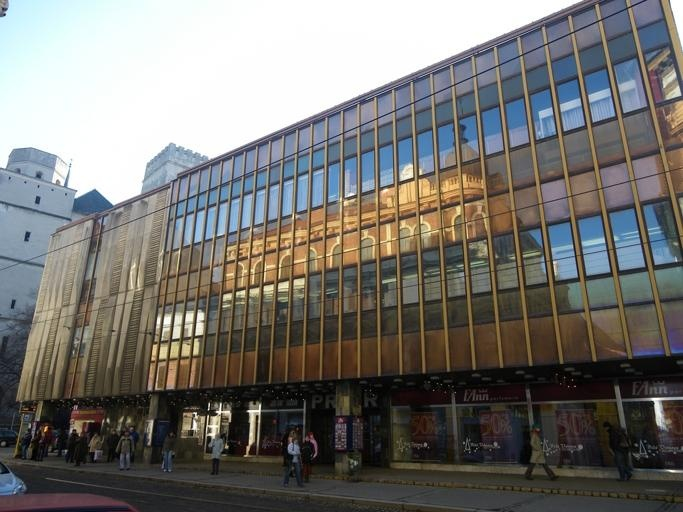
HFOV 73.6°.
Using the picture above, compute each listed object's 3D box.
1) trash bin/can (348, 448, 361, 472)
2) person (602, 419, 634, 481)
[{"bbox_3d":[0.639,9.618,21.415,0.690,1.047,0.313,18,-30,-40],"label":"trash bin/can"},{"bbox_3d":[11.091,7.706,18.086,0.671,2.172,1.319,-13,-25,24],"label":"person"}]
